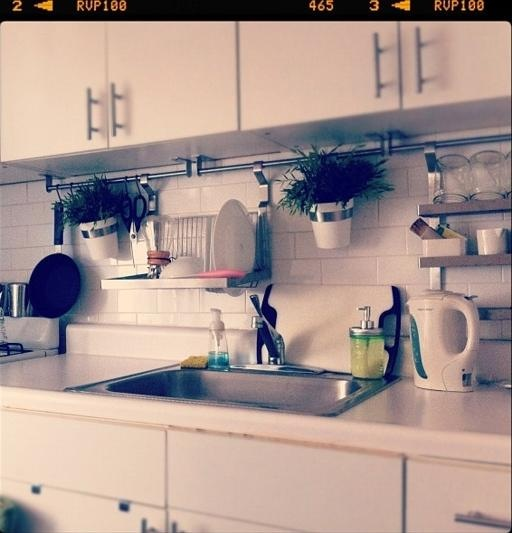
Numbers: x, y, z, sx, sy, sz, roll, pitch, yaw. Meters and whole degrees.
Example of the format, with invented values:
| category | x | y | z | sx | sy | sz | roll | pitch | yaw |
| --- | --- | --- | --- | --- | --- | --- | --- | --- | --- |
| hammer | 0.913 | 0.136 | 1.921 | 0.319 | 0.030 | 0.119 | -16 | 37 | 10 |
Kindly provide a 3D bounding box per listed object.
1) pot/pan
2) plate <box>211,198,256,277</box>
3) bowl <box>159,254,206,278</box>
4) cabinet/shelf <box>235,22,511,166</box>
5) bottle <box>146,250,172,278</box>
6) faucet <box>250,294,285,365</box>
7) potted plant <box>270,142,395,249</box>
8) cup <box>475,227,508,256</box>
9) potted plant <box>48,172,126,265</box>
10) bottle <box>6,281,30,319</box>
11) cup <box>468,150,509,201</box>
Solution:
| category | x | y | z | sx | sy | sz | roll | pitch | yaw |
| --- | --- | --- | --- | --- | --- | --- | --- | --- | --- |
| pot/pan | -0.749 | -0.002 | 2.474 | 0.199 | 0.446 | 0.053 | -2 | -6 | 32 |
| plate | -0.065 | -0.093 | 1.974 | 0.058 | 0.217 | 0.207 | 0 | 2 | 20 |
| bowl | -0.236 | 0.003 | 1.987 | 0.128 | 0.060 | 0.204 | -1 | 2 | 10 |
| cabinet/shelf | 0.273 | -0.512 | 1.651 | 0.686 | 0.284 | 0.135 | 0 | 2 | 33 |
| bottle | -0.306 | -0.008 | 2.167 | 0.070 | 0.096 | 0.085 | -7 | -37 | 9 |
| faucet | 0.036 | 0.188 | 2.040 | 0.104 | 0.209 | 0.196 | -1 | 2 | -1 |
| potted plant | 0.237 | -0.211 | 1.997 | 0.278 | 0.313 | 0.322 | -5 | 4 | -44 |
| cup | 0.612 | -0.062 | 1.699 | 0.054 | 0.061 | 0.077 | -2 | -6 | 12 |
| potted plant | -0.622 | -0.145 | 2.441 | 0.276 | 0.348 | 0.284 | -4 | -4 | 6 |
| bottle | -0.883 | 0.124 | 2.450 | 0.079 | 0.126 | 0.047 | -2 | 2 | -22 |
| cup | 0.615 | -0.235 | 1.742 | 0.095 | 0.150 | 0.080 | 15 | -19 | -40 |
